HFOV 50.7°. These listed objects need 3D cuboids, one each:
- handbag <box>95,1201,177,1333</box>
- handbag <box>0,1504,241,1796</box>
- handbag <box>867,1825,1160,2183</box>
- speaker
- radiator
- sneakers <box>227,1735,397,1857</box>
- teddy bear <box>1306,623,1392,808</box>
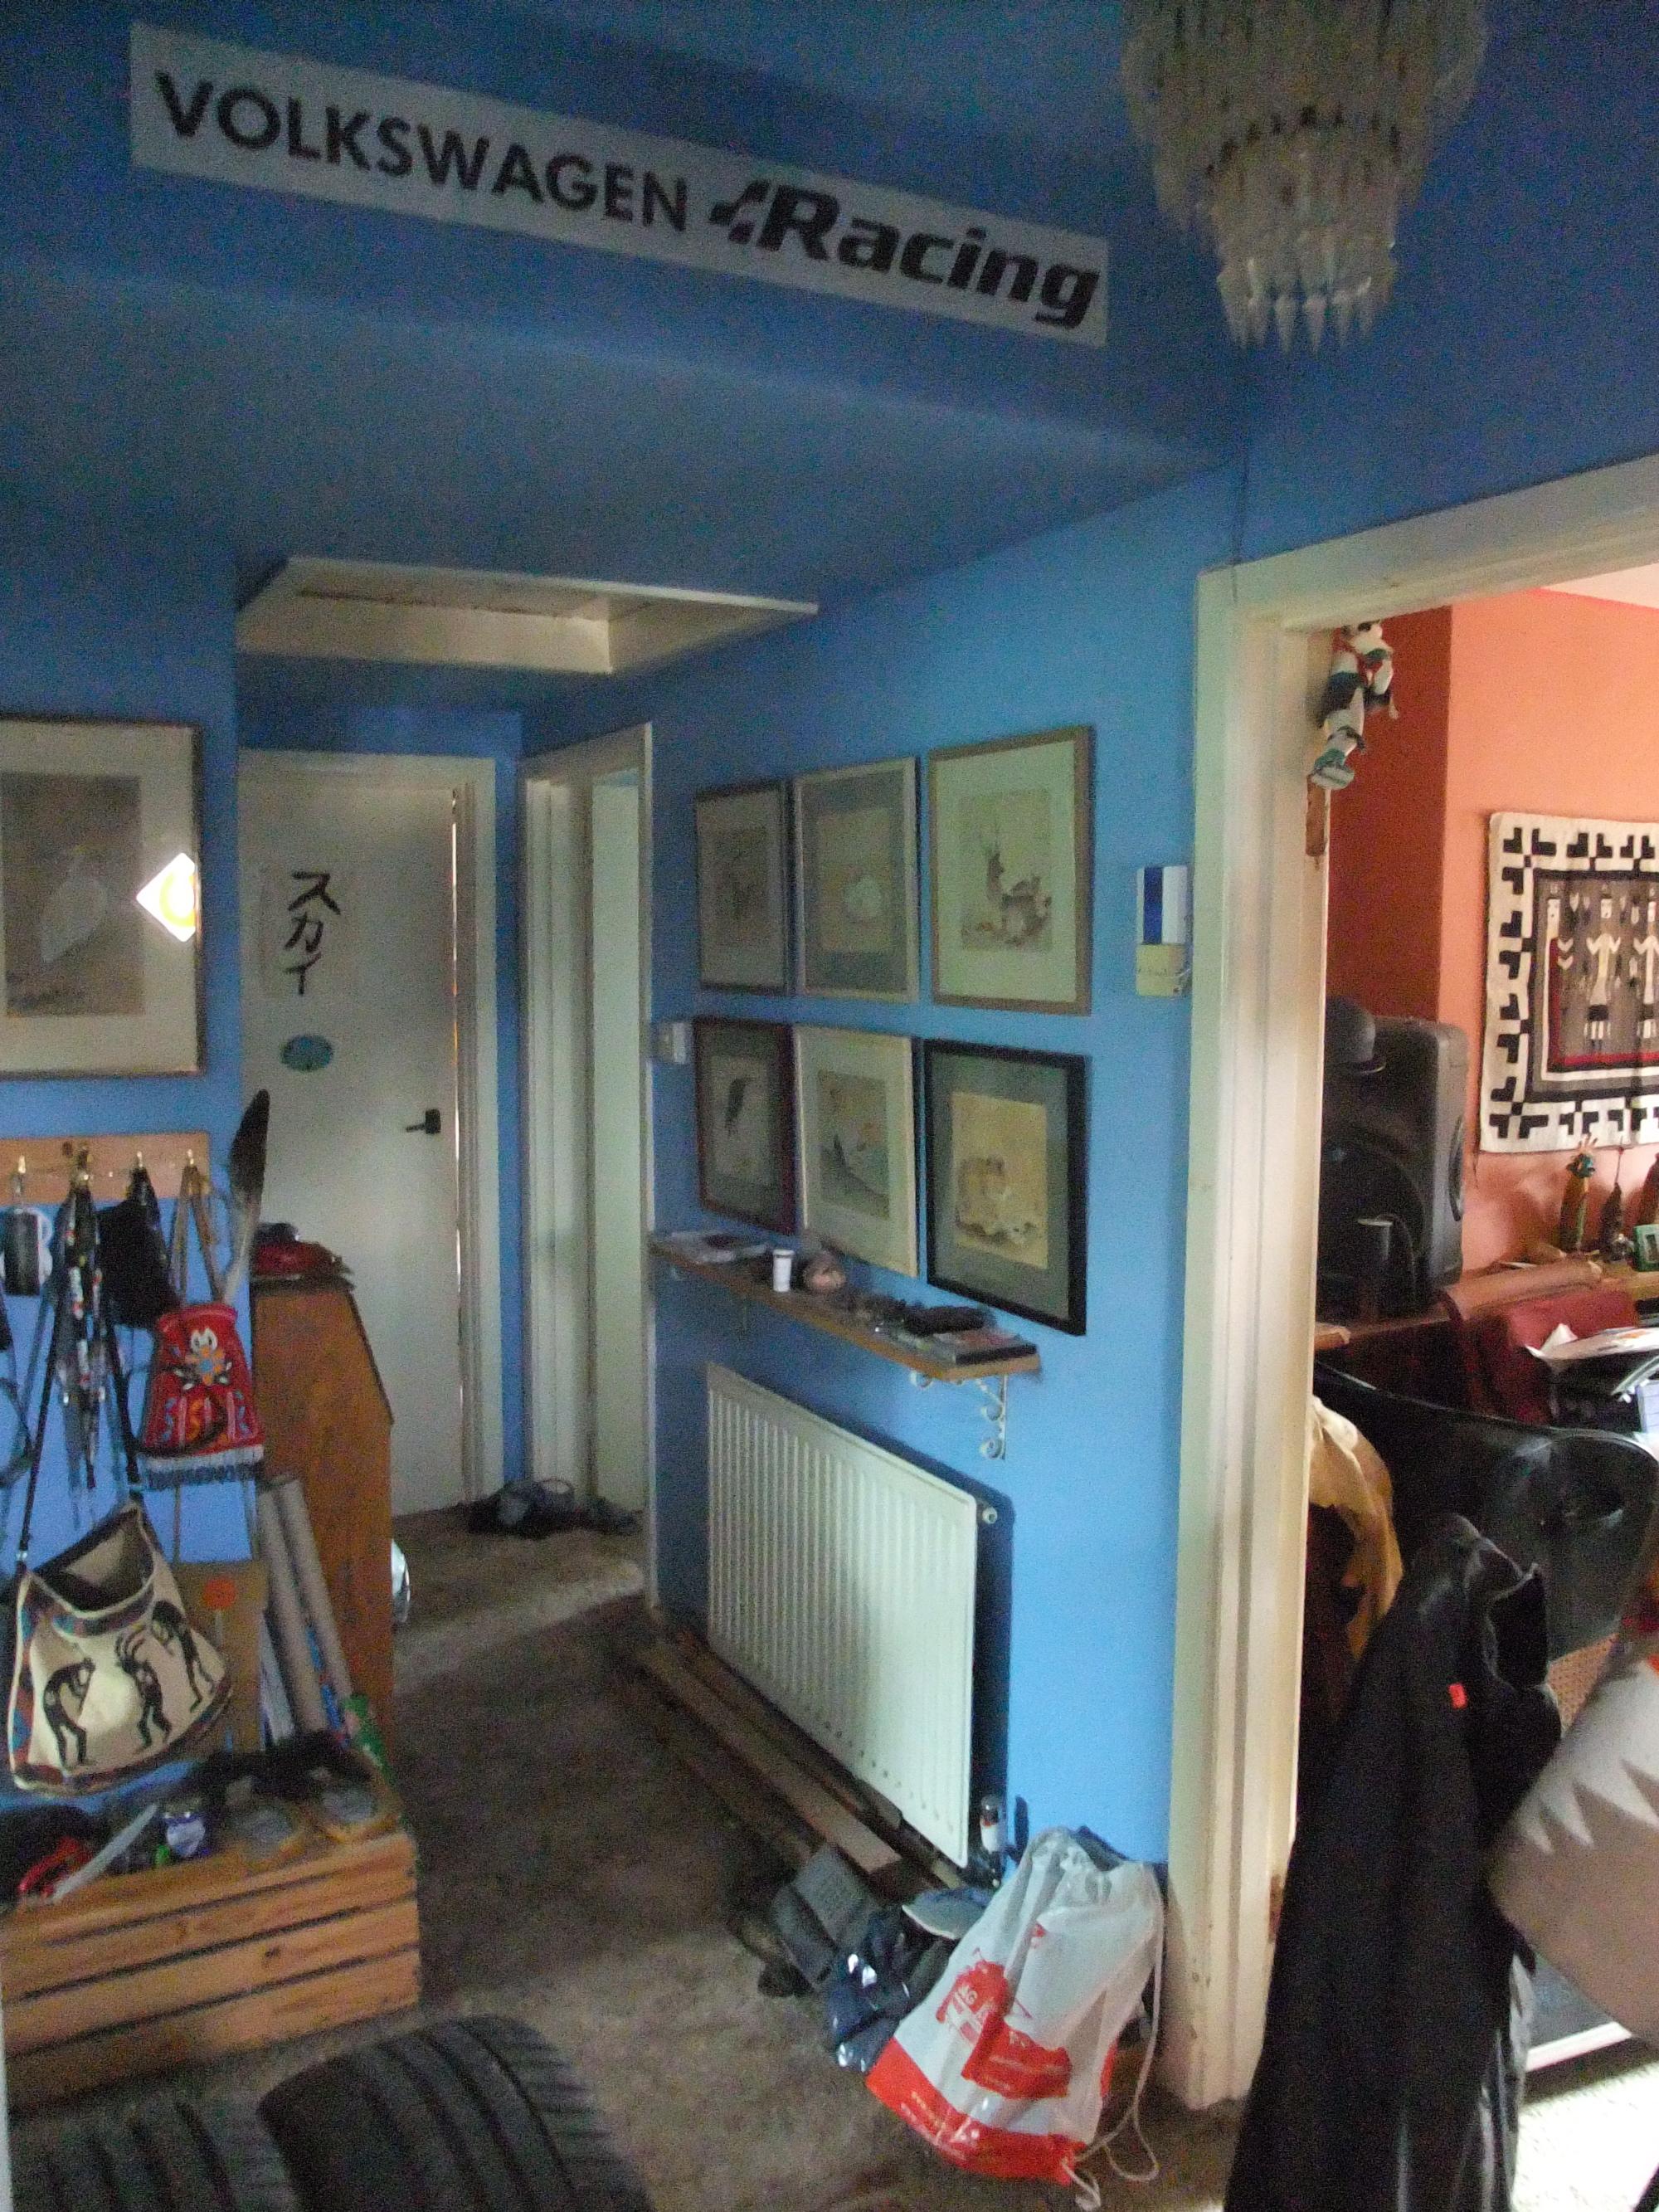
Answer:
[{"bbox_3d":[-1.051,0.246,2.641,0.096,0.190,0.045,-14,21,-24],"label":"handbag"},{"bbox_3d":[-1.018,0.787,2.489,0.197,0.429,0.377,-4,4,23],"label":"handbag"},{"bbox_3d":[0.257,1.210,2.335,0.222,0.177,0.306,17,59,38],"label":"handbag"},{"bbox_3d":[1.050,0.085,3.270,0.269,0.592,0.365,-2,9,21],"label":"speaker"},{"bbox_3d":[0.034,0.890,3.160,0.116,0.689,1.025,-8,9,-25],"label":"radiator"},{"bbox_3d":[-0.796,1.048,2.653,0.159,0.065,0.126,-4,21,-32],"label":"sneakers"},{"bbox_3d":[0.654,-0.495,2.172,0.087,0.208,0.077,7,31,13],"label":"teddy bear"}]
